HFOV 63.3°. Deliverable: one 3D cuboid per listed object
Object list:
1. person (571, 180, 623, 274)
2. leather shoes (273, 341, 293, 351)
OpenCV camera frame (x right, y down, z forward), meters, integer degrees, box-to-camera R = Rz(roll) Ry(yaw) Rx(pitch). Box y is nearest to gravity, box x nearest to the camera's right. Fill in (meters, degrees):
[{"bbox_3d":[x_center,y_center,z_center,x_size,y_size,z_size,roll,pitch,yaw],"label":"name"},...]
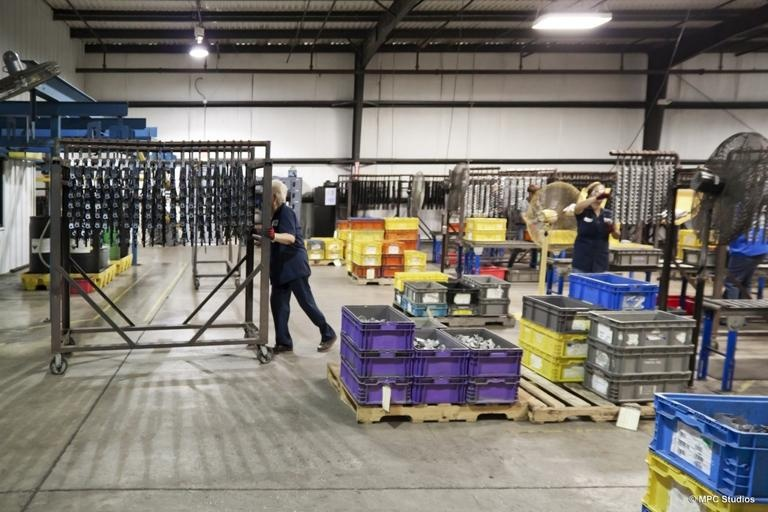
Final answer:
[{"bbox_3d":[3.365,-0.455,9.947,0.671,1.438,0.482,4,8,25],"label":"person"},{"bbox_3d":[-1.471,1.359,9.229,0.290,0.118,0.105,5,-4,-29],"label":"leather shoes"}]
